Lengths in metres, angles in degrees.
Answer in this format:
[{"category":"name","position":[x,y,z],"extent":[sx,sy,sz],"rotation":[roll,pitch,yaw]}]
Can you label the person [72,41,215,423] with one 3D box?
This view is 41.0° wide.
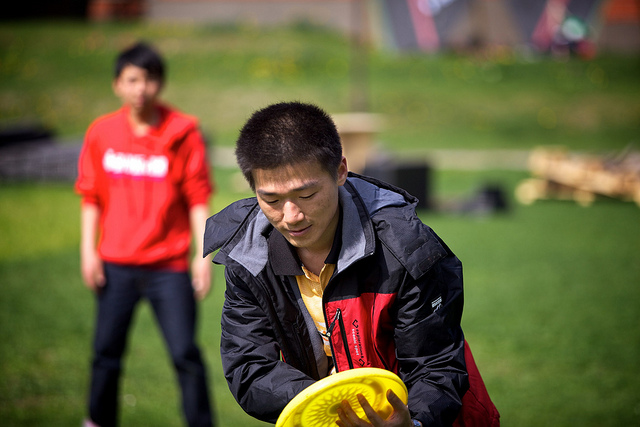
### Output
[{"category":"person","position":[-1.434,0.172,6.939],"extent":[1.120,2.990,0.872],"rotation":[2,12,-8]}]
